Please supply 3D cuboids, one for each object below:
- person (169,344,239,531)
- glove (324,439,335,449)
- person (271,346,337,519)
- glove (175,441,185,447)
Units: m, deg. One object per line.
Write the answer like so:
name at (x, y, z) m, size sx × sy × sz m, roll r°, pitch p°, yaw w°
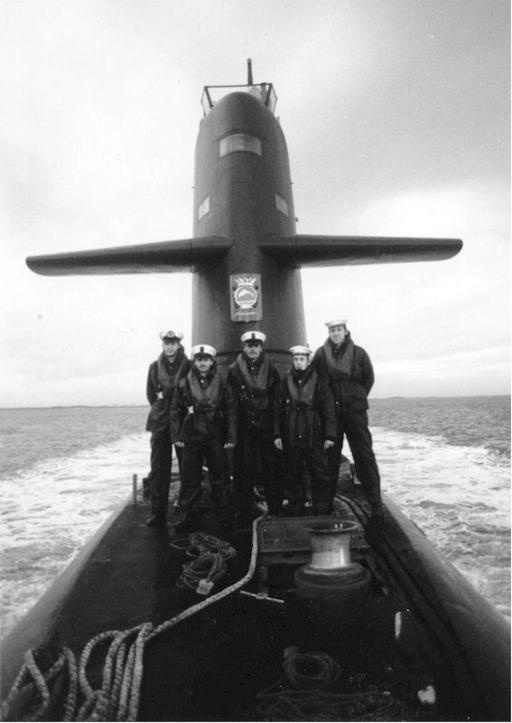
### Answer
person at (-0.510, 0.712, 5.689) m, size 0.649 × 1.193 × 0.729 m, roll -1°, pitch 0°, yaw -5°
glove at (0.747, 0.816, 5.707) m, size 0.083 × 0.108 × 0.071 m, roll 6°, pitch 5°, yaw -44°
person at (0.500, 0.677, 5.731) m, size 0.624 × 1.296 × 0.383 m, roll -1°, pitch 0°, yaw 9°
glove at (-0.752, 0.820, 5.701) m, size 0.046 × 0.062 × 0.070 m, roll 13°, pitch -2°, yaw 39°
